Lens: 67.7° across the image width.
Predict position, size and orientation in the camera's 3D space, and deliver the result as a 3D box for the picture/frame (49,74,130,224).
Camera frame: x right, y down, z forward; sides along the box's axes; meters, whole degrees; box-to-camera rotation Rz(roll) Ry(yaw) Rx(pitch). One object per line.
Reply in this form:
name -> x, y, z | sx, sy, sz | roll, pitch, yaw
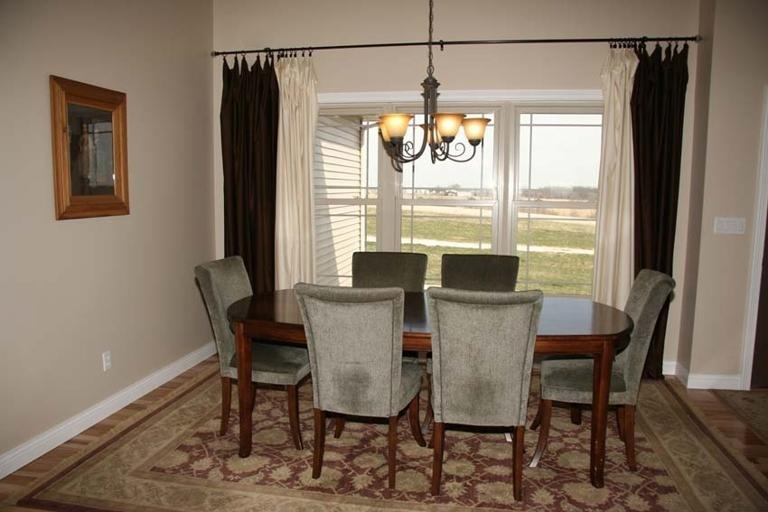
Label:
picture/frame -> -2.340, -0.841, 4.562 | 0.148, 1.081, 0.724 | 4, 12, 21
